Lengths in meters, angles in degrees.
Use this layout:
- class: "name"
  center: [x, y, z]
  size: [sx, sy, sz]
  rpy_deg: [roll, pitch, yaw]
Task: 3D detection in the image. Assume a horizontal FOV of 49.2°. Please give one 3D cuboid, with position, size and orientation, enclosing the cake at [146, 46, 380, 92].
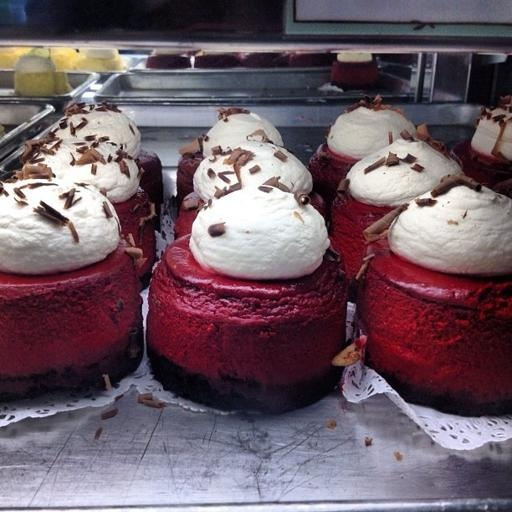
- class: "cake"
  center: [-0.012, -0.742, 2.227]
  size: [0.941, 0.137, 0.221]
  rpy_deg: [5, 25, 13]
